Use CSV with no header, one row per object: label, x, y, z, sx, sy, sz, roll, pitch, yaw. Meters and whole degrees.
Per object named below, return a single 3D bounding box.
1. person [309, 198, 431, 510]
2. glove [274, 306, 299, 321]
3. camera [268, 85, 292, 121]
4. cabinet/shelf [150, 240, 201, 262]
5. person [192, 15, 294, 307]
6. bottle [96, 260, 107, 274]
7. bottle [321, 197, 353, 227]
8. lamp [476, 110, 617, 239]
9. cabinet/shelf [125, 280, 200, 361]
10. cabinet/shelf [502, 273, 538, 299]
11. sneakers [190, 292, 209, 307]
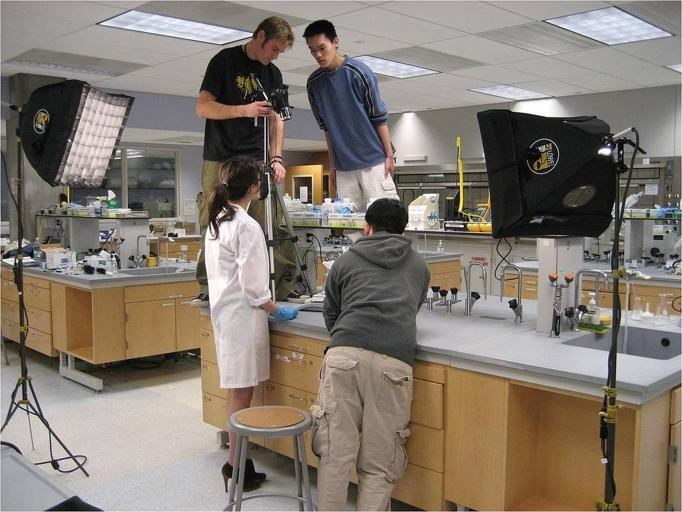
person,0.136,0.575,2.758,0.561,1.359,0.409,0,7,8
glove,-0.344,0.350,3.291,0.095,0.035,0.095,4,14,4
camera,-0.397,-0.953,3.328,0.103,0.237,0.130,-17,22,-35
cabinet/shelf,-2.626,-0.072,8.526,0.384,0.374,0.232,1,-4,1
person,-0.610,-0.618,3.646,0.716,1.880,0.648,-1,9,-23
bottle,-2.339,0.108,5.261,0.088,0.155,0.086,6,24,-3
bottle,-0.035,-0.287,3.651,0.203,0.181,0.196,2,6,9
lamp,1.019,-0.392,2.662,0.733,0.611,0.219,-1,7,-1
cabinet/shelf,-1.756,0.596,5.246,0.857,0.739,0.409,-1,0,-44
cabinet/shelf,1.740,0.301,5.264,0.190,0.229,0.324,1,-1,-31
sneakers,-0.981,0.311,3.785,0.089,0.065,0.152,2,2,-3
